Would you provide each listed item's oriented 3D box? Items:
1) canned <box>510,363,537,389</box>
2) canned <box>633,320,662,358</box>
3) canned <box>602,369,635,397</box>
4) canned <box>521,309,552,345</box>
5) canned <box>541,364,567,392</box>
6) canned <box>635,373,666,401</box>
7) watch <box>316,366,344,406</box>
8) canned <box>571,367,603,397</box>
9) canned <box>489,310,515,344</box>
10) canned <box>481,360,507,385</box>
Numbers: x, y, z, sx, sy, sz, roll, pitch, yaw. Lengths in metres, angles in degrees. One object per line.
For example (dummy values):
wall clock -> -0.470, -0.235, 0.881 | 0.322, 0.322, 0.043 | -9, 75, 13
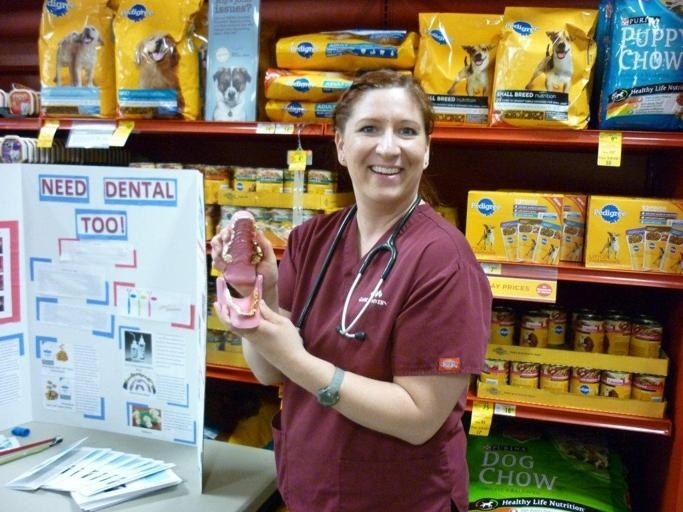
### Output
canned -> 0.875, 0.570, 3.047 | 0.123, 0.133, 0.123 | 1, -3, 6
canned -> 1.440, 0.390, 2.967 | 0.162, 0.175, 0.086 | 0, 5, -9
canned -> 1.268, 0.594, 2.977 | 0.123, 0.140, 0.123 | 0, -3, -1
canned -> 0.925, 0.351, 3.147 | 0.151, 0.166, 0.152 | 3, 3, 39
canned -> 1.013, 0.585, 3.023 | 0.117, 0.127, 0.125 | -2, -5, 45
canned -> 1.409, 0.612, 2.932 | 0.123, 0.133, 0.122 | 1, -2, -26
watch -> -0.032, 0.418, 1.974 | 0.077, 0.108, 0.113 | 24, 2, 1
canned -> 1.142, 0.593, 3.005 | 0.122, 0.134, 0.128 | 0, 0, -6
canned -> 0.773, 0.352, 3.163 | 0.150, 0.166, 0.149 | 2, 0, -4
canned -> 0.736, 0.564, 3.132 | 0.150, 0.144, 0.150 | 1, -1, 8
